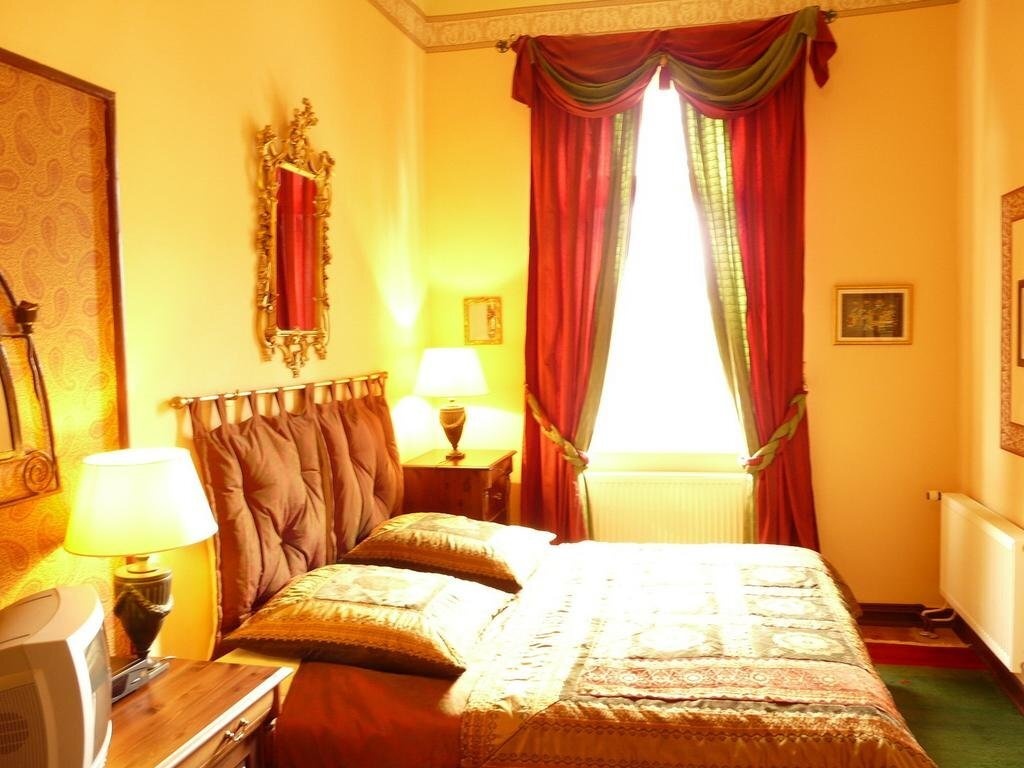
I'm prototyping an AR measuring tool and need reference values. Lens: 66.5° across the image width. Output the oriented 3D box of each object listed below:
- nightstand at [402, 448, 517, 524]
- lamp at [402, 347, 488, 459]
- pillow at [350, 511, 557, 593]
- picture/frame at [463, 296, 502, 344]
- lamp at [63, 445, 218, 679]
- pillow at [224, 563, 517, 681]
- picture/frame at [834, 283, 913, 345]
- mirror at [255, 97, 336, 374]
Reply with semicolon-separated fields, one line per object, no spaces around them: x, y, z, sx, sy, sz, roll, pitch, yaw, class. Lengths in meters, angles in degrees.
-0.345;0.727;4.931;0.553;0.607;0.662;4;10;13;nightstand
-0.368;0.144;4.932;0.470;0.660;0.471;0;3;-6;lamp
-0.288;0.737;3.526;0.461;0.155;0.473;7;2;20;pillow
-0.193;-0.438;5.352;0.320;0.377;0.039;1;3;7;picture/frame
-1.232;0.595;2.597;0.464;0.664;0.449;0;-2;-42;lamp
-0.536;0.883;3.070;0.903;0.233;0.635;3;7;14;pillow
2.267;-0.441;4.859;0.373;0.327;0.038;0;2;9;picture/frame
-1.052;-0.712;3.803;0.192;1.325;0.617;2;8;6;mirror
